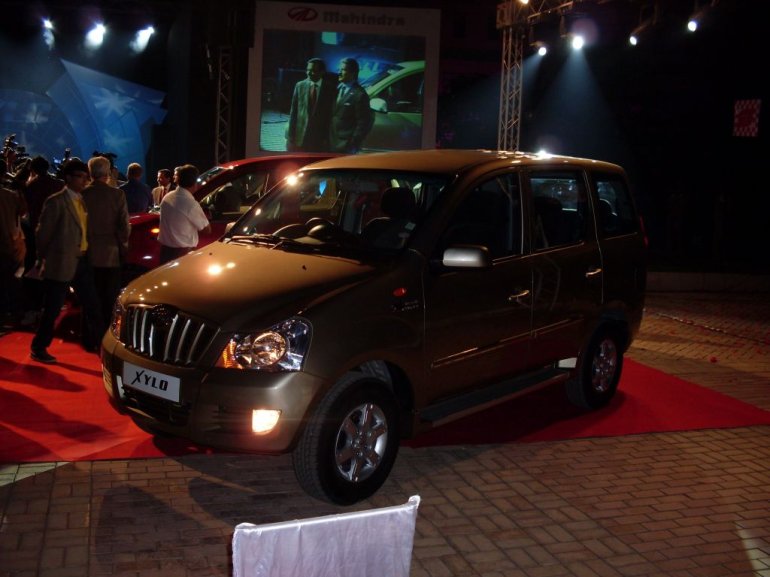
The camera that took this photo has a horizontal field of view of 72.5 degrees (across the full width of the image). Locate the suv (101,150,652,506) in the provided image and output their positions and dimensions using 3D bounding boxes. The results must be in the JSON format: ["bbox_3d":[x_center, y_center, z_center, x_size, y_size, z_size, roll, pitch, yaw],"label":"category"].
[{"bbox_3d":[0.096,0.140,4.658,4.189,2.092,2.666,-3,7,-39],"label":"suv"}]

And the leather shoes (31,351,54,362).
[{"bbox_3d":[-4.056,0.817,6.261,0.299,0.122,0.113,4,7,7],"label":"leather shoes"}]

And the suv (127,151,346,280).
[{"bbox_3d":[-2.289,-1.166,8.338,3.130,1.672,1.751,0,6,-13],"label":"suv"}]

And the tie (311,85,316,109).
[{"bbox_3d":[-2.215,-5.910,16.260,0.209,0.568,0.055,1,8,-8],"label":"tie"}]

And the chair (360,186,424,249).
[{"bbox_3d":[0.095,-0.514,3.981,0.313,0.379,0.429,5,27,3],"label":"chair"}]
